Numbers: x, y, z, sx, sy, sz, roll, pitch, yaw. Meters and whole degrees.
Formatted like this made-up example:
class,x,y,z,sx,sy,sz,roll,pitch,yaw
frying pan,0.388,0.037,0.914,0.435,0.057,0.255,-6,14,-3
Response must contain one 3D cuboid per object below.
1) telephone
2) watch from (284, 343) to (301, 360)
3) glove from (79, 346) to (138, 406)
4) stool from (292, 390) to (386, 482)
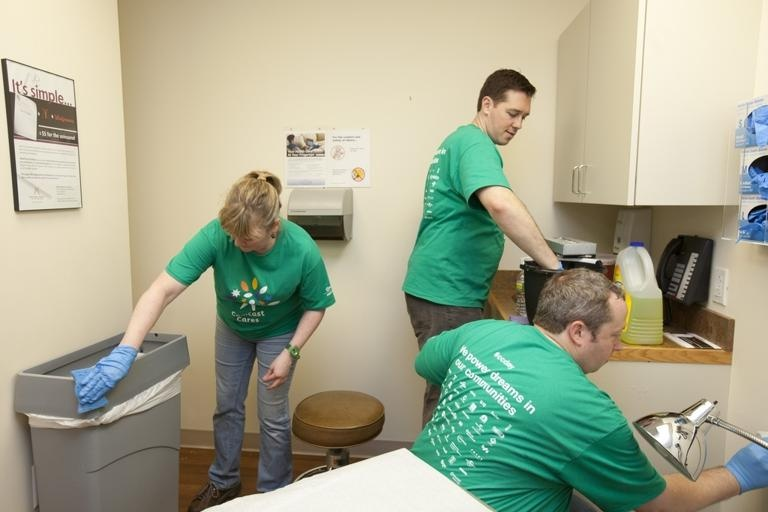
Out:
class,x,y,z,sx,sy,sz,roll,pitch,yaw
telephone,1.467,0.059,2.538,0.147,0.307,0.310,1,7,-1
watch,-0.481,0.488,2.699,0.058,0.086,0.087,-29,-31,4
glove,-1.177,0.492,2.210,0.166,0.076,0.257,34,47,-9
stool,-0.243,1.010,2.779,0.408,0.378,0.391,4,1,-18
